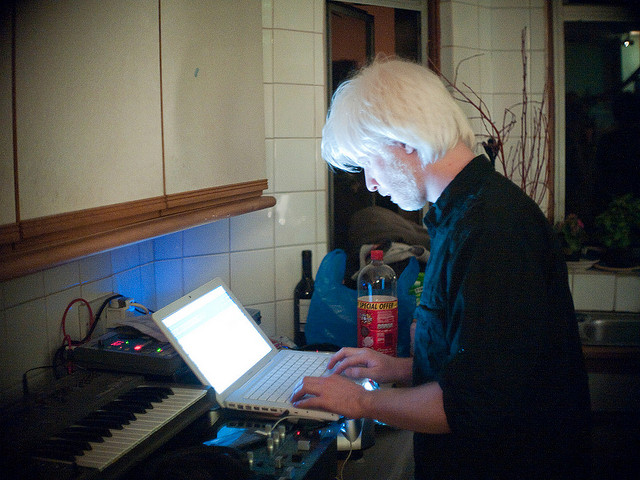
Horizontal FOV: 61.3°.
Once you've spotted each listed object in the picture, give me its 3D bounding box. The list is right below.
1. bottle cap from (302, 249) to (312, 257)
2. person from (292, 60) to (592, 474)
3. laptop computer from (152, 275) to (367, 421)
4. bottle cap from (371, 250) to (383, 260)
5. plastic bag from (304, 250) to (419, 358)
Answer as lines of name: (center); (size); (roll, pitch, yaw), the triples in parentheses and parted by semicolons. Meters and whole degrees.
bottle cap: (-0.053, 0.054, 2.302); (0.036, 0.020, 0.034); (4, 8, -8)
person: (0.339, 0.007, 2.023); (0.886, 1.731, 0.975); (-3, 0, 17)
laptop computer: (-0.211, 0.239, 1.615); (0.447, 0.281, 0.427); (2, 10, 16)
bottle cap: (0.208, 0.052, 1.961); (0.032, 0.024, 0.033); (0, 4, 3)
plastic bag: (0.181, 0.296, 2.239); (0.351, 0.477, 0.267); (13, -27, -18)
